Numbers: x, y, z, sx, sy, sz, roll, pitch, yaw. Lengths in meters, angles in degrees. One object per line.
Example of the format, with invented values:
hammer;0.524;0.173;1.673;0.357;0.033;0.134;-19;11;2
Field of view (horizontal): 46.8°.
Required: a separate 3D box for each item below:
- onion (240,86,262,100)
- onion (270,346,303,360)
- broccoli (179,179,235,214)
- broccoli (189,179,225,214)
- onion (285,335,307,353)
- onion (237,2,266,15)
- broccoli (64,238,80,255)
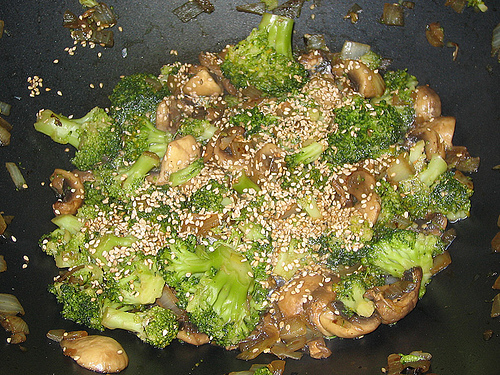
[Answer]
onion;0.022;-1.189;7.268;0.179;0.063;0.189;-36;106;26
onion;0.434;2.035;7.120;0.436;0.062;0.157;12;91;2
broccoli;-0.574;0.120;7.014;0.600;0.175;0.419;0;84;0
broccoli;-0.525;0.144;6.910;0.363;0.132;0.354;-39;75;5
onion;0.557;1.929;7.070;0.297;0.068;0.170;-20;84;-2
onion;0.012;-2.269;7.356;0.324;0.082;0.149;-1;41;5
broccoli;-2.234;0.736;7.188;0.168;0.054;0.182;3;95;6
